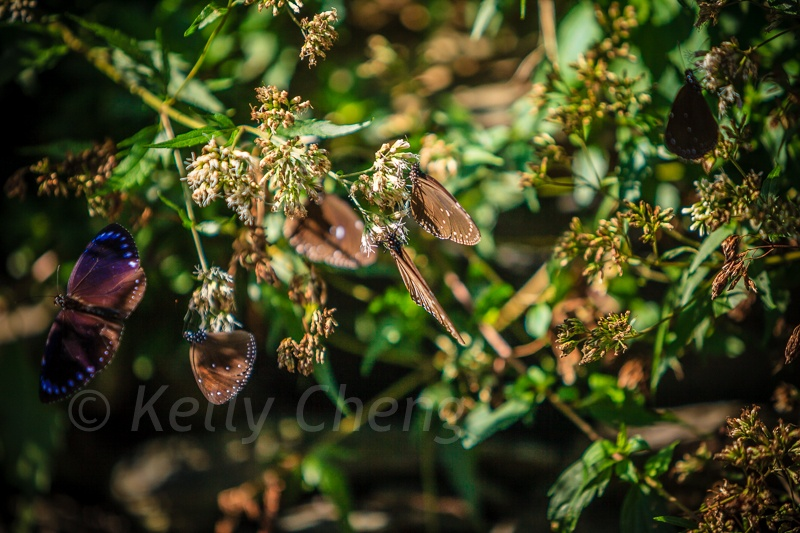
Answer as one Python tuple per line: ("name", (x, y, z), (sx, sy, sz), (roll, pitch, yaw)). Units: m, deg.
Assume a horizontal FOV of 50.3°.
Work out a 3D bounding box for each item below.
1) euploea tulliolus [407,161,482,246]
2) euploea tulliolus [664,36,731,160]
("euploea tulliolus", (0.117, -0.129, 1.859), (0.056, 0.174, 0.132), (-29, -11, -43))
("euploea tulliolus", (0.624, -0.319, 1.807), (0.074, 0.193, 0.118), (10, 10, 43))
